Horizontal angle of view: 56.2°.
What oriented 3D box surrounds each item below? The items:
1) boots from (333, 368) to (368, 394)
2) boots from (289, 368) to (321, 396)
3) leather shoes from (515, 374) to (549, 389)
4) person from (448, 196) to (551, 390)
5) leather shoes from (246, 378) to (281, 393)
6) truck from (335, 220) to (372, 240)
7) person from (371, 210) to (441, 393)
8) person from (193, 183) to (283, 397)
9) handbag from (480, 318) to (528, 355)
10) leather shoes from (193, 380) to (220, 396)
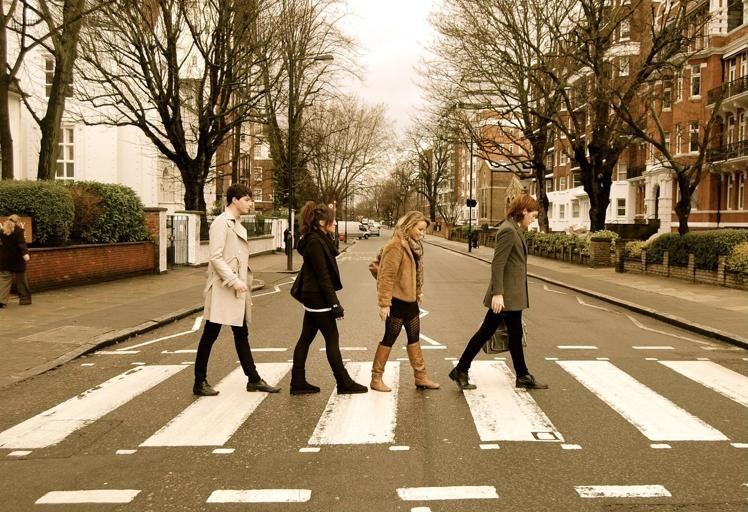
[{"bbox_3d":[-0.387,1.940,10.699,0.567,0.437,0.227,0,2,-3],"label":"boots"},{"bbox_3d":[-0.997,1.905,10.611,0.557,0.431,0.238,-1,6,-18],"label":"boots"},{"bbox_3d":[2.440,1.939,10.788,0.537,0.251,0.195,-1,4,-1],"label":"leather shoes"},{"bbox_3d":[1.939,0.541,10.718,1.298,2.948,0.637,-1,5,-13],"label":"person"},{"bbox_3d":[-1.706,1.960,10.678,0.568,0.259,0.203,1,-1,-2],"label":"leather shoes"},{"bbox_3d":[-2.544,-2.858,76.864,3.032,1.321,1.608,-4,9,-16],"label":"truck"},{"bbox_3d":[0.431,0.683,10.593,0.886,2.699,0.715,-4,6,-37],"label":"person"},{"bbox_3d":[-2.169,0.498,10.540,0.925,3.136,0.898,3,6,32],"label":"person"},{"bbox_3d":[1.845,1.221,10.848,0.544,0.570,0.265,4,1,-42],"label":"handbag"},{"bbox_3d":[-2.534,1.976,10.485,0.394,0.194,0.179,1,1,18],"label":"leather shoes"}]
